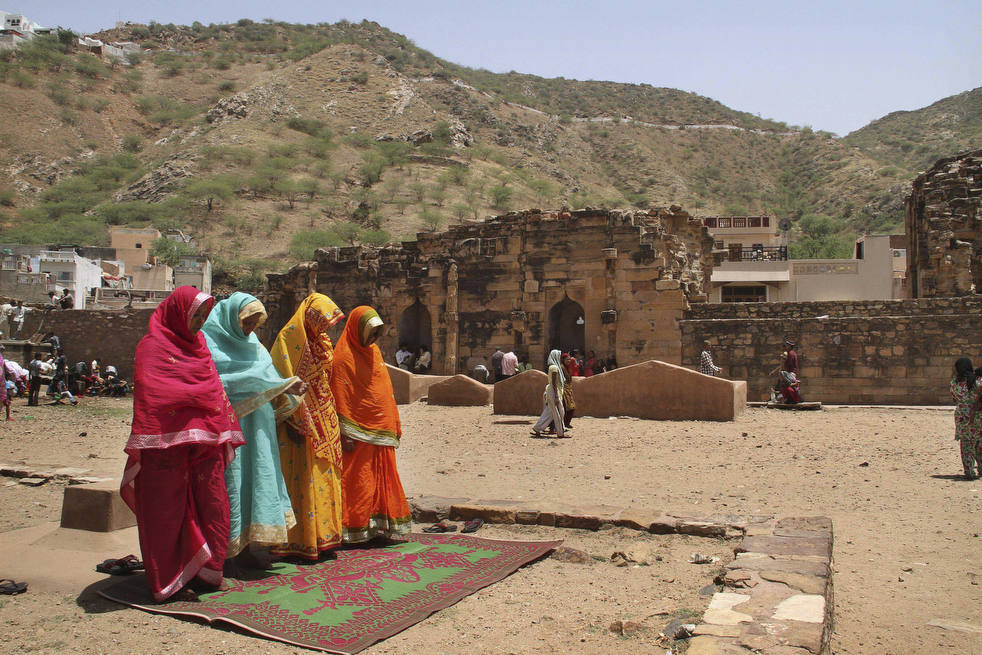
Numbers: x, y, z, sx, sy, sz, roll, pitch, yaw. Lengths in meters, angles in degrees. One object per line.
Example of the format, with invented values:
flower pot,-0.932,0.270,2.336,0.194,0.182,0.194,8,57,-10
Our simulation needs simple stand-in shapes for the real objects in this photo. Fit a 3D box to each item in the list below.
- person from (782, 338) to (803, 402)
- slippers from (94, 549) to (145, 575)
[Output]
person,7.180,1.067,24.977,0.359,1.448,0.844,1,-1,12
slippers,-5.085,3.226,14.081,0.521,0.103,0.251,5,0,6
